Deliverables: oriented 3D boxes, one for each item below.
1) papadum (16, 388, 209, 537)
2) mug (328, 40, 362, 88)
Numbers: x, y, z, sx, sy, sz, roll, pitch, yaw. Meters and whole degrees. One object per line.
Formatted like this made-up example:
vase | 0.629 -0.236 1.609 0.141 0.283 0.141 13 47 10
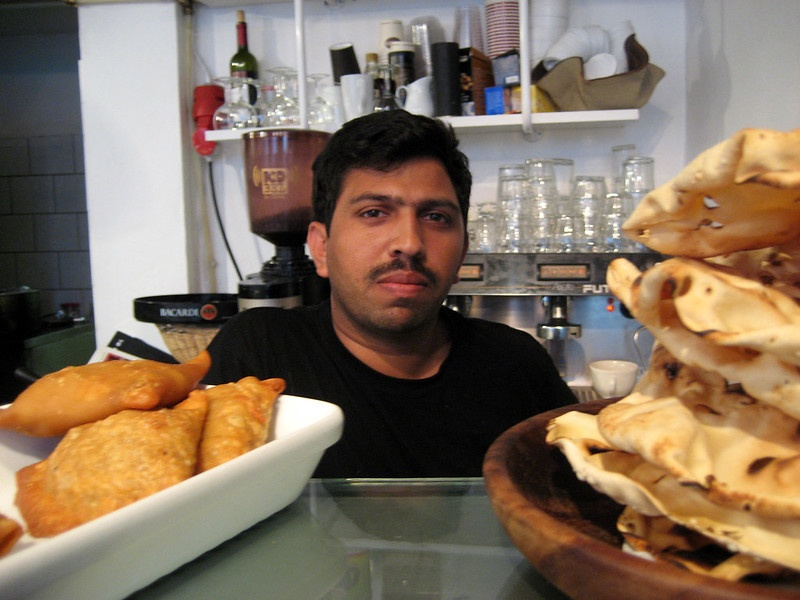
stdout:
papadum | -0.188 0.112 0.441 0.098 0.020 0.116 17 27 38
mug | -0.181 -0.734 1.924 0.118 0.125 0.105 -11 17 -33
